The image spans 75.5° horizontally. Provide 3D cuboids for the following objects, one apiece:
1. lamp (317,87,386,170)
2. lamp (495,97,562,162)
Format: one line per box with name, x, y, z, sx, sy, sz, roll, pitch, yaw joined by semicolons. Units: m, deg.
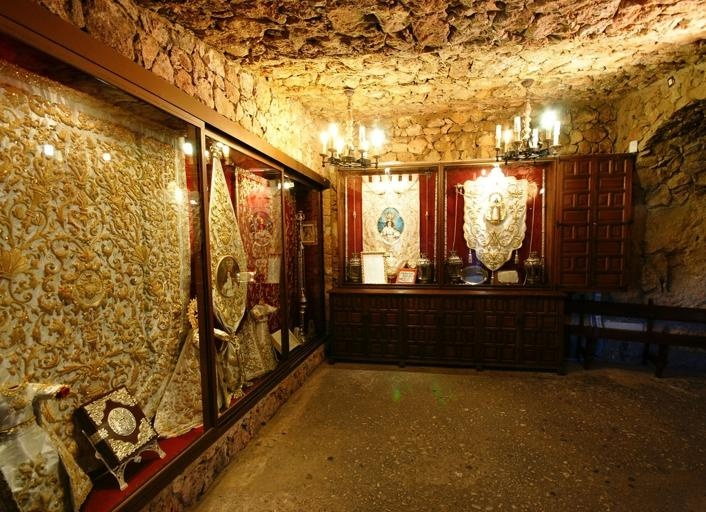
lamp;-0.037;-1.506;5.367;0.800;0.885;0.781;7;20;16
lamp;1.971;-1.537;5.177;0.696;0.875;0.665;1;9;18
